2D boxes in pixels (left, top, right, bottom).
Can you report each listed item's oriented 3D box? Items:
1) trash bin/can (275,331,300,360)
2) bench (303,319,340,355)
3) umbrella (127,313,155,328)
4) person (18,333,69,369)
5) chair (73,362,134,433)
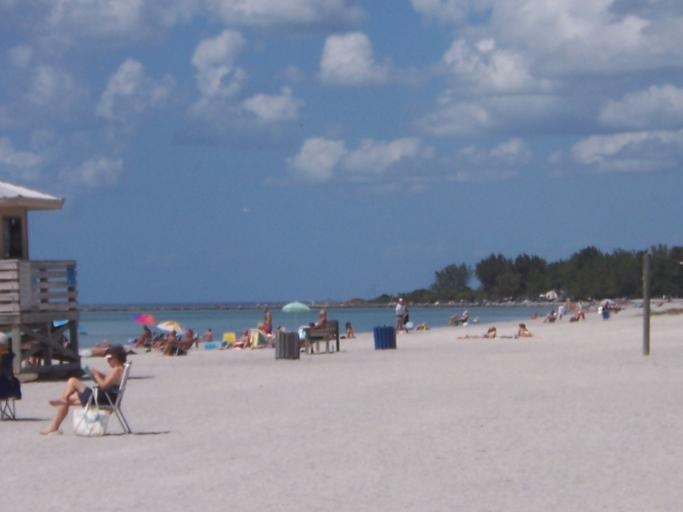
[{"bbox_3d":[-1.645,2.640,40.012,0.747,0.881,0.759,-1,-2,12],"label":"trash bin/can"},{"bbox_3d":[-0.713,2.643,43.616,1.134,0.867,0.813,-4,-10,-3],"label":"bench"},{"bbox_3d":[-7.179,2.264,48.581,1.391,0.472,1.406,3,1,8],"label":"umbrella"},{"bbox_3d":[-7.786,2.401,34.436,1.831,1.034,0.798,-1,2,-8],"label":"person"},{"bbox_3d":[-4.782,2.732,26.297,1.134,1.401,1.029,2,3,-9],"label":"chair"}]
